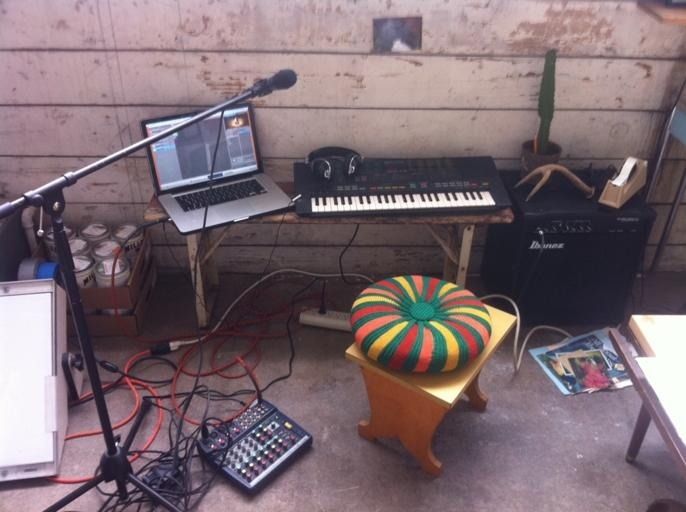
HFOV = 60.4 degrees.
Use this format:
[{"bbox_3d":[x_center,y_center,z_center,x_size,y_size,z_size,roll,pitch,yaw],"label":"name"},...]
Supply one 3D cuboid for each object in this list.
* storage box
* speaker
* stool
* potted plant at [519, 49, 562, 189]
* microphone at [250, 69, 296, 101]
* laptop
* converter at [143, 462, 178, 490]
[{"bbox_3d":[-1.188,0.196,3.255,0.437,0.291,0.472,0,49,2],"label":"storage box"},{"bbox_3d":[1.333,0.088,3.290,0.696,0.764,0.530,-3,11,23],"label":"speaker"},{"bbox_3d":[0.415,0.603,2.853,0.541,0.589,0.700,27,39,25],"label":"stool"},{"bbox_3d":[1.024,-0.676,2.977,0.195,0.654,0.380,11,33,18],"label":"potted plant"},{"bbox_3d":[-0.249,-0.616,2.126,0.109,0.098,0.197,19,37,27],"label":"microphone"},{"bbox_3d":[-0.605,-0.448,2.867,0.615,0.375,0.574,-12,35,-21],"label":"laptop"},{"bbox_3d":[-0.775,0.947,2.529,0.084,0.040,0.117,15,34,17],"label":"converter"}]
